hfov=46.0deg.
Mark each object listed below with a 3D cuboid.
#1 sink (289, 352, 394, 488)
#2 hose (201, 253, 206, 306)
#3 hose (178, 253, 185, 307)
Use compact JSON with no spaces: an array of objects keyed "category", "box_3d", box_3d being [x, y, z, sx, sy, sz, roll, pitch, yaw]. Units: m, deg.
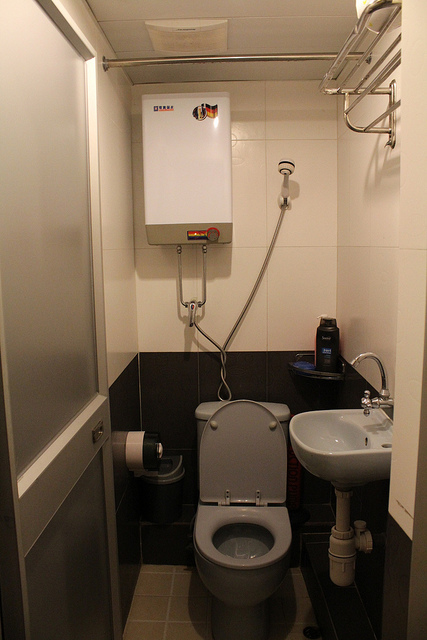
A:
[{"category":"sink","box_3d":[0.380,0.173,1.565,0.302,0.546,0.543,1,4,0]},{"category":"hose","box_3d":[-0.043,-0.175,2.153,0.019,0.227,0.092,0,8,-2]},{"category":"hose","box_3d":[-0.139,-0.176,2.163,0.026,0.228,0.106,0,8,-4]}]
